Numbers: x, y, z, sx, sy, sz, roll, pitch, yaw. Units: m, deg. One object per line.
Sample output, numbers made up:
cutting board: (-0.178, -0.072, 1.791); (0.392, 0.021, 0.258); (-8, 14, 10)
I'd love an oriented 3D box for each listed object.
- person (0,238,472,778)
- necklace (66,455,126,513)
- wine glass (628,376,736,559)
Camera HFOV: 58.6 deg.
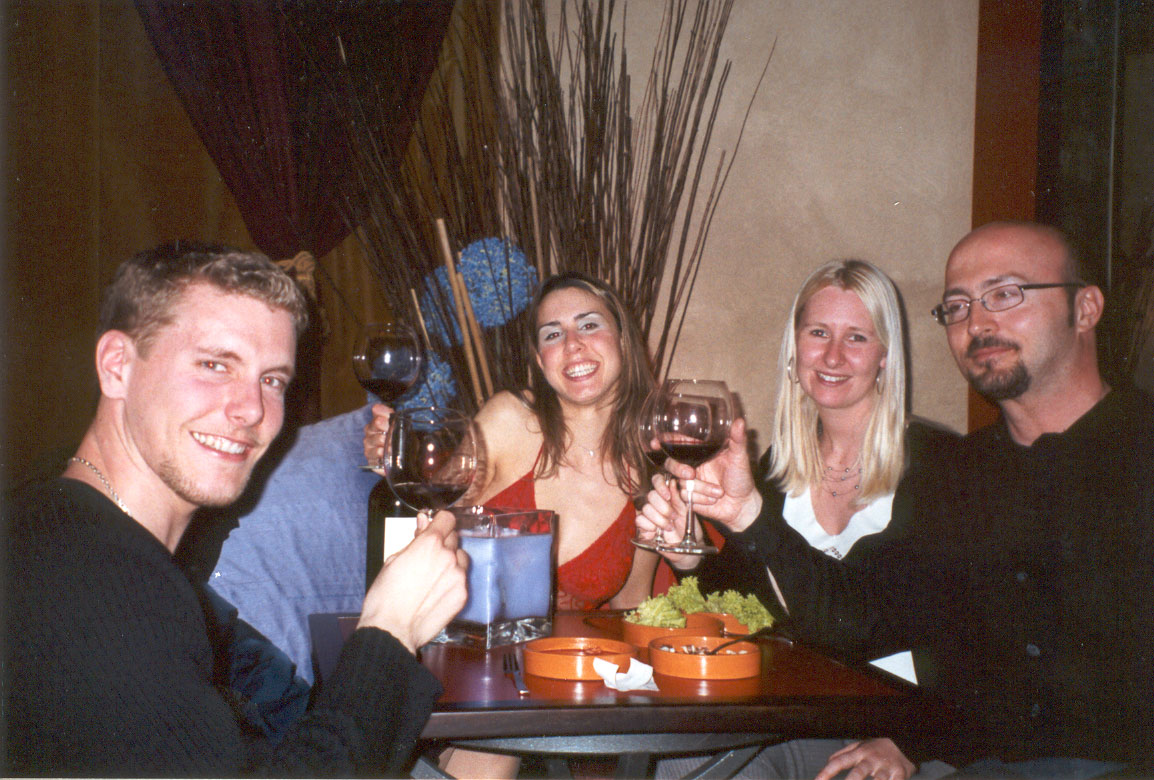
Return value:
person: (-0.659, 0.239, 2.406); (1.077, 1.213, 0.833); (0, 1, -23)
necklace: (-0.910, 0.172, 1.979); (0.031, 0.118, 0.092); (-41, -16, 2)
wine glass: (0.252, 0.186, 2.452); (0.214, 0.409, 0.281); (1, -5, 2)
